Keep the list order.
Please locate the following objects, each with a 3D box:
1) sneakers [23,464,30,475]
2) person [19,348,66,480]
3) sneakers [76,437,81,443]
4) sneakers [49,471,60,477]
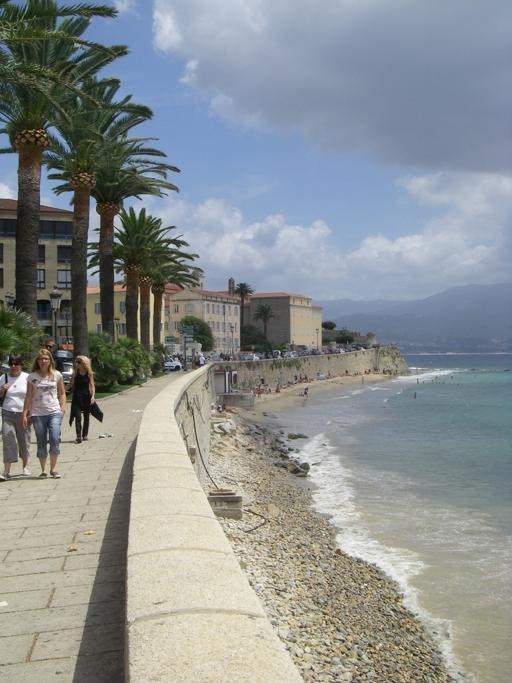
[{"bbox_3d":[-3.081,1.730,8.360,0.068,0.077,0.192,0,1,-24],"label":"sneakers"},{"bbox_3d":[-2.847,0.968,8.354,0.517,1.709,0.777,-1,1,-17],"label":"person"},{"bbox_3d":[-3.198,1.799,11.258,0.120,0.102,0.057,3,-1,19],"label":"sneakers"},{"bbox_3d":[-2.599,1.750,8.112,0.123,0.087,0.171,-1,1,-30],"label":"sneakers"}]
